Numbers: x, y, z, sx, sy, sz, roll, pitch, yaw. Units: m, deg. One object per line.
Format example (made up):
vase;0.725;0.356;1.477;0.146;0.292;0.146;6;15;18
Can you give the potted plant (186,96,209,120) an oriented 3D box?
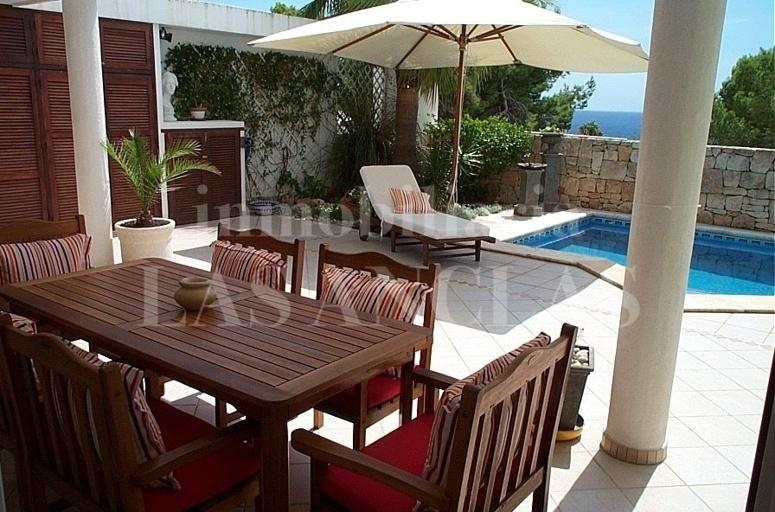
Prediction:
potted plant;-3.363;-2.606;9.070;0.434;0.403;0.426;-1;1;-7

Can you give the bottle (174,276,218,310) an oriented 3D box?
bottle;-1.159;0.211;3.094;0.204;0.135;0.204;0;5;0

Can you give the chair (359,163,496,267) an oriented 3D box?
chair;0.457;-0.657;7.635;1.031;1.113;2.484;-5;15;-27
